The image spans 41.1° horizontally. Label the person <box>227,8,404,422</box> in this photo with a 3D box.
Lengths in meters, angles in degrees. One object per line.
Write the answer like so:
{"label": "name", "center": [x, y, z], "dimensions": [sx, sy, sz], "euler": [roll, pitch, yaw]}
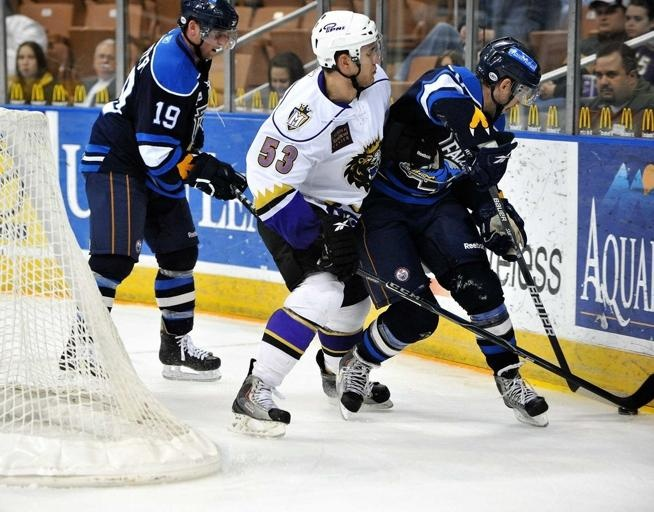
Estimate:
{"label": "person", "center": [-0.060, -0.157, 3.436], "dimensions": [0.646, 1.581, 0.370], "euler": [-7, 13, -43]}

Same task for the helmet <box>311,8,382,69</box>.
{"label": "helmet", "center": [0.073, -0.868, 3.388], "dimensions": [0.254, 0.240, 0.201], "euler": [-7, 23, 3]}

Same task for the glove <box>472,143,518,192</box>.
{"label": "glove", "center": [0.638, -0.343, 3.326], "dimensions": [0.172, 0.180, 0.067], "euler": [-2, 10, -20]}

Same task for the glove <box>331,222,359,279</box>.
{"label": "glove", "center": [0.046, -0.019, 3.391], "dimensions": [0.133, 0.196, 0.075], "euler": [2, 2, -39]}

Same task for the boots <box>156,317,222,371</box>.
{"label": "boots", "center": [-0.681, 0.445, 4.297], "dimensions": [0.366, 0.265, 0.150], "euler": [3, 5, 13]}

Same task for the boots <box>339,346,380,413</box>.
{"label": "boots", "center": [0.131, 0.533, 3.731], "dimensions": [0.107, 0.127, 0.305], "euler": [27, 32, -21]}

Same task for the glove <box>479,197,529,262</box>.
{"label": "glove", "center": [0.703, -0.110, 3.637], "dimensions": [0.187, 0.251, 0.074], "euler": [-36, 17, -27]}

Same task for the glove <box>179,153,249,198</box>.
{"label": "glove", "center": [-0.490, -0.321, 3.741], "dimensions": [0.294, 0.173, 0.117], "euler": [32, -17, 4]}

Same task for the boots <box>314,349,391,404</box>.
{"label": "boots", "center": [0.114, 0.559, 3.846], "dimensions": [0.139, 0.187, 0.454], "euler": [-6, 19, -14]}

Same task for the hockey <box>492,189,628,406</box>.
{"label": "hockey", "center": [1.058, 0.188, 3.881], "dimensions": [0.103, 0.985, 0.149], "euler": [-22, 12, -16]}
